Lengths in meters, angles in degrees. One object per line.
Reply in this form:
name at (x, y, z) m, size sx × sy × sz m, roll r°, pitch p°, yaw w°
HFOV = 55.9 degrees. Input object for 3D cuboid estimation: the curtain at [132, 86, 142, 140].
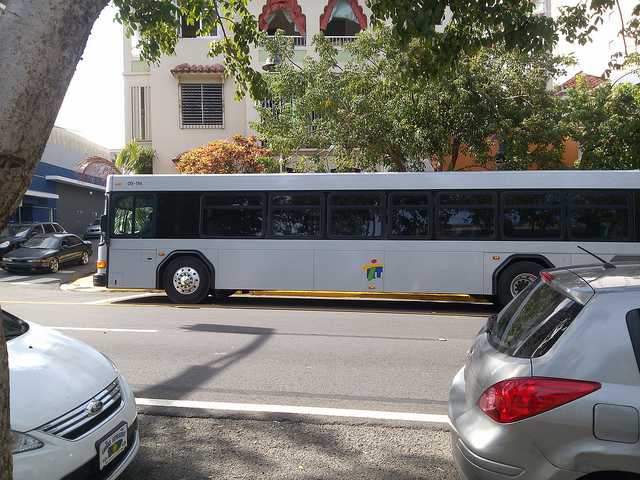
curtain at (-8.611, -5.971, 28.417) m, size 0.504 × 2.413 × 0.366 m, roll 0°, pitch 4°, yaw -8°

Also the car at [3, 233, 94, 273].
car at (-10.681, 0.514, 23.895) m, size 1.430 × 1.358 × 3.757 m, roll 2°, pitch 4°, yaw 10°

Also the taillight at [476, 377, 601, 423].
taillight at (1.630, 1.191, 4.525) m, size 0.715 × 0.249 × 0.366 m, roll -19°, pitch 37°, yaw 18°

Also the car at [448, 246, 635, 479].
car at (1.758, 1.050, 4.885) m, size 1.883 × 1.152 × 1.181 m, roll -2°, pitch 0°, yaw 0°

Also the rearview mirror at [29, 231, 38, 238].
rearview mirror at (-12.100, -0.256, 25.499) m, size 0.229 × 0.109 × 0.261 m, roll -10°, pitch 9°, yaw 1°

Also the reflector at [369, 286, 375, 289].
reflector at (1.173, 1.069, 13.578) m, size 0.111 × 0.059 × 0.044 m, roll 1°, pitch 4°, yaw 2°

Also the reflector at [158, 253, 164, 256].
reflector at (-3.770, 0.342, 14.250) m, size 0.067 × 0.052 × 0.042 m, roll 0°, pitch -4°, yaw 2°

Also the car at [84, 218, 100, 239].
car at (-15.398, -0.803, 40.713) m, size 1.219 × 1.120 × 3.060 m, roll 0°, pitch -2°, yaw -22°

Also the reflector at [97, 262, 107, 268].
reflector at (-5.234, 0.596, 14.426) m, size 0.149 × 0.112 × 0.163 m, roll 1°, pitch 4°, yaw 10°
